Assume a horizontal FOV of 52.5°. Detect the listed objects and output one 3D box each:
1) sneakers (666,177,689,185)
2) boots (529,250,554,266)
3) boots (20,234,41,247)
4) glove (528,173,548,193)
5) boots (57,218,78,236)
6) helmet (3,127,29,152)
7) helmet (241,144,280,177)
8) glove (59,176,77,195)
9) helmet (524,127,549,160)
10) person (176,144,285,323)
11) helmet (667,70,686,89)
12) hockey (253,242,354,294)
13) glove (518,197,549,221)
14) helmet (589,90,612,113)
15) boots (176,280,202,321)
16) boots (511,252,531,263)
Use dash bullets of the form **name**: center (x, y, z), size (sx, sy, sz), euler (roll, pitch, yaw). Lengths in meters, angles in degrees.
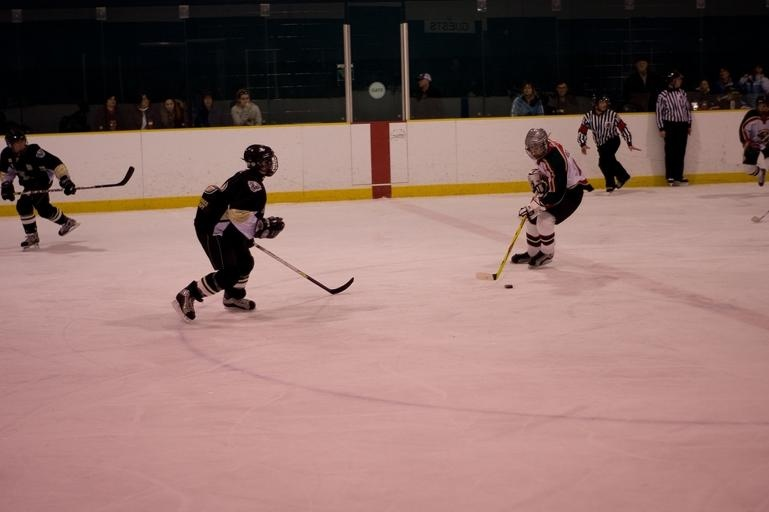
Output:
- **sneakers**: center (4.557, -1.162, 12.156), size (0.331, 0.136, 0.102), euler (-3, 14, -1)
- **boots**: center (1.386, 0.031, 6.938), size (0.257, 0.082, 0.103), euler (-14, -34, 26)
- **boots**: center (-3.957, -0.173, 8.684), size (0.187, 0.174, 0.266), euler (-4, 10, -23)
- **glove**: center (1.345, -0.637, 6.888), size (0.135, 0.178, 0.230), euler (-6, 10, -29)
- **boots**: center (-3.697, -0.333, 9.097), size (0.135, 0.102, 0.318), euler (38, -35, -20)
- **helmet**: center (-4.008, -1.252, 8.482), size (0.183, 0.245, 0.321), euler (-5, 10, -26)
- **helmet**: center (-0.876, -0.701, 5.781), size (0.302, 0.244, 0.229), euler (-7, 20, -25)
- **glove**: center (-3.484, -0.771, 8.569), size (0.135, 0.195, 0.345), euler (-5, 10, -25)
- **helmet**: center (1.349, -1.023, 6.878), size (0.243, 0.287, 0.300), euler (-4, -34, 14)
- **person**: center (-1.152, -0.171, 5.760), size (0.797, 1.265, 0.399), euler (-2, 10, -7)
- **helmet**: center (4.503, -2.718, 12.028), size (0.303, 0.345, 0.222), euler (-6, 19, 12)
- **hockey**: center (-0.730, 0.126, 7.075), size (0.678, 0.053, 0.212), euler (24, 13, -6)
- **glove**: center (1.324, -0.405, 6.915), size (0.224, 0.171, 0.092), euler (-31, -18, 4)
- **helmet**: center (3.234, -2.312, 11.737), size (0.338, 0.370, 0.370), euler (4, 31, 3)
- **boots**: center (-1.441, 0.328, 5.750), size (0.188, 0.285, 0.216), euler (-4, 10, -20)
- **boots**: center (1.258, 0.019, 7.133), size (0.193, 0.074, 0.070), euler (4, 34, 17)
